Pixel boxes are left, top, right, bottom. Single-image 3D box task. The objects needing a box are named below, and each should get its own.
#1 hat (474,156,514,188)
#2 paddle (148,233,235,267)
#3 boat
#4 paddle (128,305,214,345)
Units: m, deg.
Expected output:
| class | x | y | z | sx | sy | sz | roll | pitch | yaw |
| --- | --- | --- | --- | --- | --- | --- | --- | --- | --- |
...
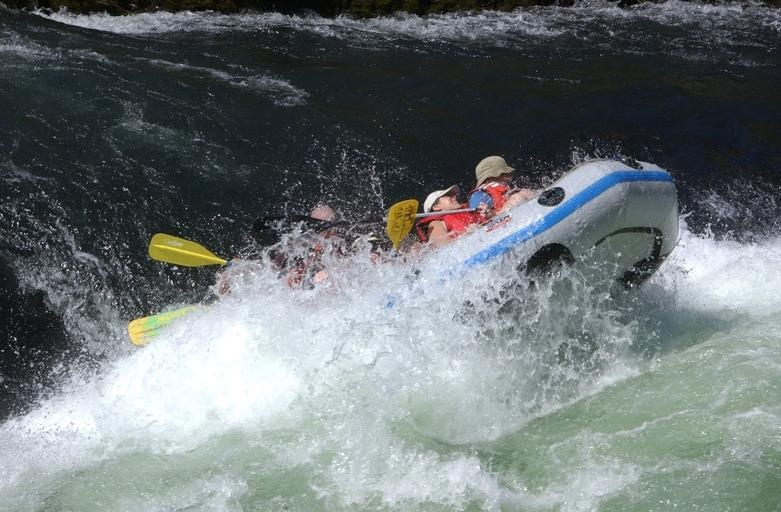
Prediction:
| class | x | y | z | sx | sy | sz | roll | pitch | yaw |
| --- | --- | --- | --- | --- | --- | --- | --- | --- | --- |
| hat | 1.400 | -1.229 | 11.490 | 0.499 | 0.249 | 0.389 | -27 | 11 | -5 |
| paddle | -2.732 | -0.038 | 11.259 | 1.321 | 0.174 | 0.377 | 12 | 82 | 22 |
| boat | 2.082 | -0.105 | 10.896 | 3.361 | 1.165 | 1.800 | -30 | 23 | 16 |
| paddle | -3.070 | 0.893 | 11.414 | 0.295 | 0.317 | 1.270 | -14 | 4 | 37 |
